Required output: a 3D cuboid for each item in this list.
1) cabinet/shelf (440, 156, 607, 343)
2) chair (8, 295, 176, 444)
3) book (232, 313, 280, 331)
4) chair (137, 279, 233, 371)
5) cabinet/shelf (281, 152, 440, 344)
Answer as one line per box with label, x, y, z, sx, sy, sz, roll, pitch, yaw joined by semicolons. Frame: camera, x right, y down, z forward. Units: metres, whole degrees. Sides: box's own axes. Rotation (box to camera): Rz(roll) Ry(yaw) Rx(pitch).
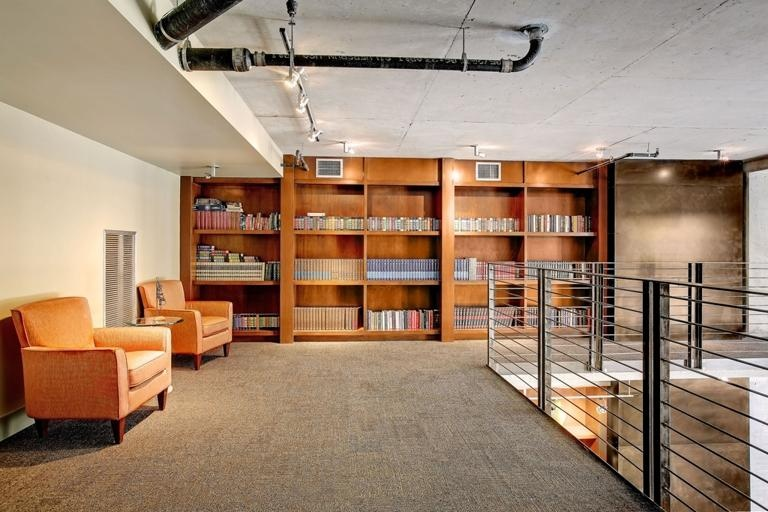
cabinet/shelf;2.138;-0.098;8.337;3.673;2.685;0.939;0;-2;-3
chair;-3.096;1.121;5.775;1.481;1.127;1.359;1;6;-14
book;-2.033;1.029;8.407;0.706;0.244;0.134;0;9;-4
chair;-2.779;0.877;7.407;1.096;0.926;1.033;6;5;1
cabinet/shelf;-0.472;-0.138;8.511;3.650;2.814;0.965;1;2;-1
